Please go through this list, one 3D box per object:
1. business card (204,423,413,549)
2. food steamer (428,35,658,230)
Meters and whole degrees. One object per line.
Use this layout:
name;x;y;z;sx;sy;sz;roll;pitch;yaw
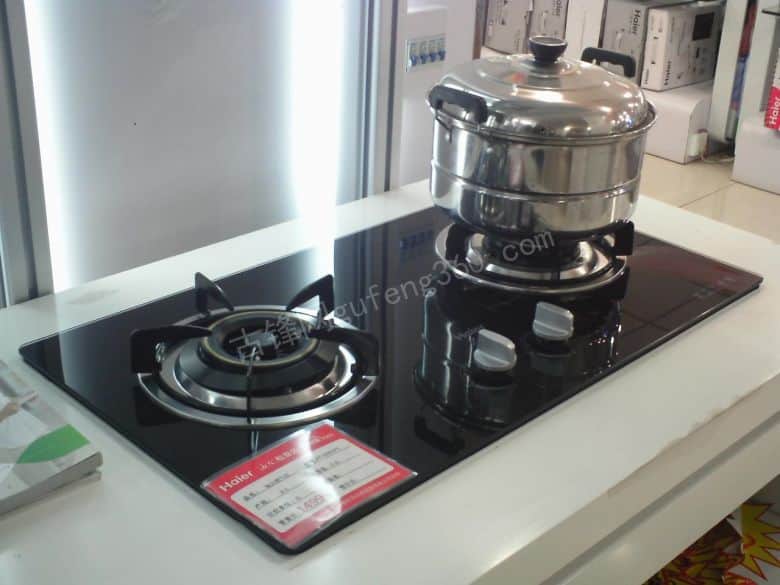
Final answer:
business card;-0.089;0.206;0.730;0.194;0.015;0.125;-25;42;-30
food steamer;0.209;-0.196;1.079;0.303;0.236;0.339;23;39;30
